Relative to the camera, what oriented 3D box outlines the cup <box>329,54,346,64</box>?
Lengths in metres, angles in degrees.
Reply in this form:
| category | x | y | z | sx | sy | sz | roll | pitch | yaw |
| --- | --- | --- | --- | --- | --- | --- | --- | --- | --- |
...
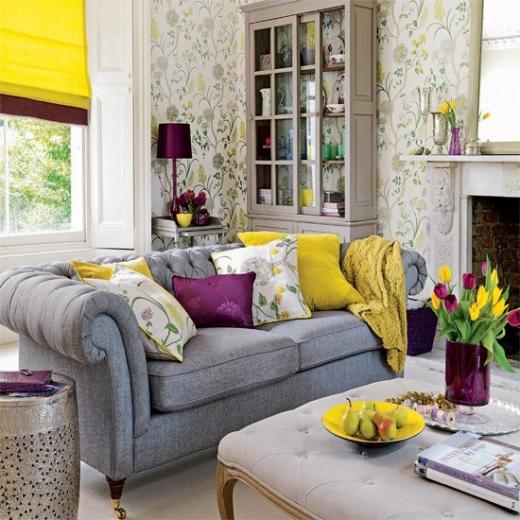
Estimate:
| category | x | y | z | sx | sy | sz | roll | pitch | yaw |
| --- | --- | --- | --- | --- | --- | --- | --- | --- | --- |
| cup | 0.646 | -1.667 | 3.984 | 0.098 | 0.052 | 0.104 | -1 | 2 | 0 |

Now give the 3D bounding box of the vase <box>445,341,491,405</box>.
| category | x | y | z | sx | sy | sz | roll | pitch | yaw |
| --- | --- | --- | --- | --- | --- | --- | --- | --- | --- |
| vase | 0.654 | 0.345 | 1.504 | 0.117 | 0.206 | 0.119 | -7 | 10 | -19 |

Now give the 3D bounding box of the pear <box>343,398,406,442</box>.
| category | x | y | z | sx | sy | sz | roll | pitch | yaw |
| --- | --- | --- | --- | --- | --- | --- | --- | --- | --- |
| pear | 0.303 | 0.415 | 1.250 | 0.113 | 0.068 | 0.091 | -3 | -2 | 19 |

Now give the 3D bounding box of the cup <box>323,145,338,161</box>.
| category | x | y | z | sx | sy | sz | roll | pitch | yaw |
| --- | --- | --- | --- | --- | --- | --- | --- | --- | --- |
| cup | 0.619 | -0.924 | 4.163 | 0.119 | 0.121 | 0.123 | 0 | 1 | 0 |

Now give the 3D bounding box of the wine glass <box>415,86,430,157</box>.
| category | x | y | z | sx | sy | sz | roll | pitch | yaw |
| --- | --- | --- | --- | --- | --- | --- | --- | --- | --- |
| wine glass | 1.286 | -1.120 | 3.747 | 0.132 | 0.546 | 0.328 | -5 | 8 | 20 |

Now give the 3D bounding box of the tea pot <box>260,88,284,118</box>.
| category | x | y | z | sx | sy | sz | roll | pitch | yaw |
| --- | --- | --- | --- | --- | --- | --- | --- | --- | --- |
| tea pot | 0.138 | -1.484 | 4.563 | 0.219 | 0.308 | 0.239 | -1 | 2 | 0 |

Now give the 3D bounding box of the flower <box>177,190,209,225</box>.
| category | x | y | z | sx | sy | sz | roll | pitch | yaw |
| --- | --- | --- | --- | --- | --- | --- | --- | --- | --- |
| flower | -0.607 | -0.471 | 4.403 | 0.298 | 0.356 | 0.284 | -3 | 4 | -11 |

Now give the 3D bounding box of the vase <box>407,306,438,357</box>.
| category | x | y | z | sx | sy | sz | roll | pitch | yaw |
| --- | --- | --- | --- | --- | --- | --- | --- | --- | --- |
| vase | 1.251 | 0.551 | 3.576 | 0.275 | 0.327 | 0.273 | -5 | -26 | 35 |

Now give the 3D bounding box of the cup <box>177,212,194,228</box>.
| category | x | y | z | sx | sy | sz | roll | pitch | yaw |
| --- | --- | --- | --- | --- | --- | --- | --- | --- | --- |
| cup | -0.662 | -0.349 | 4.180 | 0.114 | 0.109 | 0.123 | -1 | 0 | 0 |

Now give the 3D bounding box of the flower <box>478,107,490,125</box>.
| category | x | y | z | sx | sy | sz | roll | pitch | yaw |
| --- | --- | --- | --- | --- | --- | --- | --- | --- | --- |
| flower | 1.624 | -1.052 | 3.451 | 0.021 | 0.073 | 0.064 | 0 | -2 | -37 |

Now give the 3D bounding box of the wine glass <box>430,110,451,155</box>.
| category | x | y | z | sx | sy | sz | roll | pitch | yaw |
| --- | --- | --- | --- | --- | --- | --- | --- | --- | --- |
| wine glass | 1.389 | -0.992 | 3.662 | 0.119 | 0.339 | 0.300 | -5 | 8 | 21 |

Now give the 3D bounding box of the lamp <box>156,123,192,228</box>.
| category | x | y | z | sx | sy | sz | roll | pitch | yaw |
| --- | --- | --- | --- | --- | --- | --- | --- | --- | --- |
| lamp | -0.776 | -0.832 | 4.332 | 0.298 | 0.893 | 0.390 | -11 | 8 | -27 |

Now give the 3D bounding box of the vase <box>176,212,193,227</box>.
| category | x | y | z | sx | sy | sz | roll | pitch | yaw |
| --- | --- | --- | --- | --- | --- | --- | --- | --- | --- |
| vase | -0.654 | -0.346 | 4.185 | 0.115 | 0.109 | 0.122 | -1 | 0 | -26 |

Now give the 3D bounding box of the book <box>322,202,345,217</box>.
| category | x | y | z | sx | sy | sz | roll | pitch | yaw |
| --- | --- | --- | --- | --- | --- | --- | --- | --- | --- |
| book | 0.637 | -0.429 | 4.144 | 0.127 | 0.093 | 0.129 | -1 | 4 | -34 |
